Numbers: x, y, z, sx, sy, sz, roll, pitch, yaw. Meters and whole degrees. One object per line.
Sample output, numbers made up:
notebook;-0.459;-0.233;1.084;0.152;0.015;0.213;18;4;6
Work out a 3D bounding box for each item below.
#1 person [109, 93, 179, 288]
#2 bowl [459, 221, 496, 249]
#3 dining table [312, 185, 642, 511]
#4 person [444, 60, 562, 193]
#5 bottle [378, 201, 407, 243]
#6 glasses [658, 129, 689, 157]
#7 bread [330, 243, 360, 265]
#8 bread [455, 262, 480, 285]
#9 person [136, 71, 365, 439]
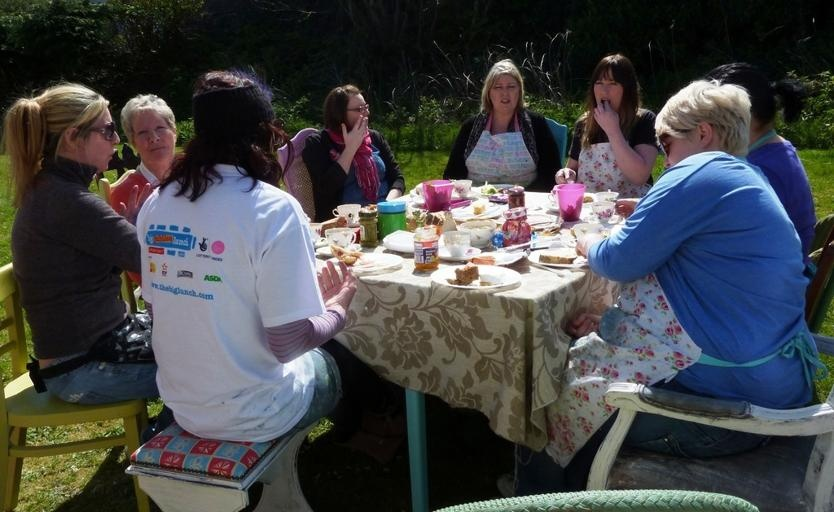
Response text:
person;-1.815;-0.400;4.375;0.605;1.371;0.446;-12;3;-40
bowl;0.329;-0.129;3.331;0.159;0.108;0.164;-1;6;0
dining table;0.300;0.251;3.195;1.101;0.848;1.469;13;20;40
person;0.678;-0.876;5.190;0.700;1.300;1.452;2;1;7
bottle;-0.154;-0.193;3.516;0.181;0.214;0.185;-3;10;-8
glasses;1.195;-0.542;2.899;0.102;0.104;0.078;-45;12;-33
bread;-0.358;-0.003;3.080;0.106;0.049;0.124;11;3;17
bread;0.221;0.083;2.790;0.075;0.037;0.099;-14;16;7
person;-0.752;0.011;2.658;0.893;1.560;0.412;1;12;6
